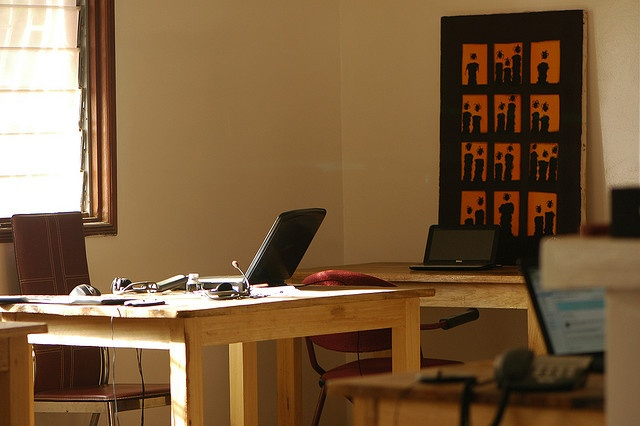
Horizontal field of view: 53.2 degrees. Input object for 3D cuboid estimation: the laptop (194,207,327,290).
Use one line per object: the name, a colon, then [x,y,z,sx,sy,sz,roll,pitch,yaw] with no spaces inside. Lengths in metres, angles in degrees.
laptop: [-0.290,0.177,3.039,0.448,0.274,0.459,0,-2,30]
